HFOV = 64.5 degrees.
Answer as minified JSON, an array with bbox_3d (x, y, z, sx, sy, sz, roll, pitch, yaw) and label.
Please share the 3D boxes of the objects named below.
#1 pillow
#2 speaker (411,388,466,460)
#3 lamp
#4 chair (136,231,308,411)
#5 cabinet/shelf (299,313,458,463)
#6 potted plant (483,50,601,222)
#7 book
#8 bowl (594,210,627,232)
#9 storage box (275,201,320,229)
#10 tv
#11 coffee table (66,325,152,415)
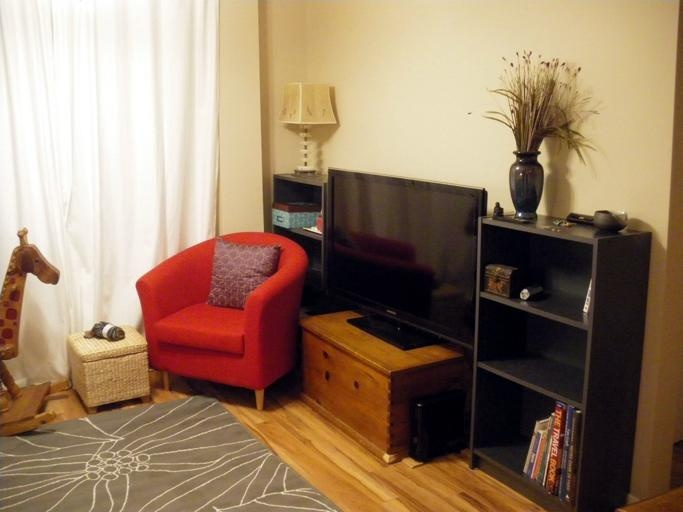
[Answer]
[{"bbox_3d":[-0.685,0.154,3.795,0.483,0.456,0.264,6,19,25],"label":"pillow"},{"bbox_3d":[0.526,0.951,3.005,0.338,0.335,0.108,-7,14,-30],"label":"speaker"},{"bbox_3d":[-0.277,-0.999,4.284,0.378,0.693,0.592,-7,15,-28],"label":"lamp"},{"bbox_3d":[-0.772,0.439,3.956,1.194,1.245,1.069,6,10,24],"label":"chair"},{"bbox_3d":[0.233,0.805,3.502,0.618,0.546,1.132,-4,7,-29],"label":"cabinet/shelf"},{"bbox_3d":[0.927,-0.619,2.724,0.337,0.821,0.574,-6,15,-26],"label":"potted plant"},{"bbox_3d":[0.982,0.908,2.521,0.066,0.484,0.272,-6,15,-26],"label":"book"},{"bbox_3d":[1.162,-0.155,2.361,0.104,0.066,0.092,-6,11,-37],"label":"bowl"},{"bbox_3d":[-0.336,-0.367,4.188,0.206,0.146,0.287,-7,12,-36],"label":"storage box"},{"bbox_3d":[0.347,0.005,3.345,0.178,0.966,1.277,-15,21,-41],"label":"tv"},{"bbox_3d":[-1.529,0.719,3.617,0.469,0.467,0.471,-9,18,-34],"label":"coffee table"}]
